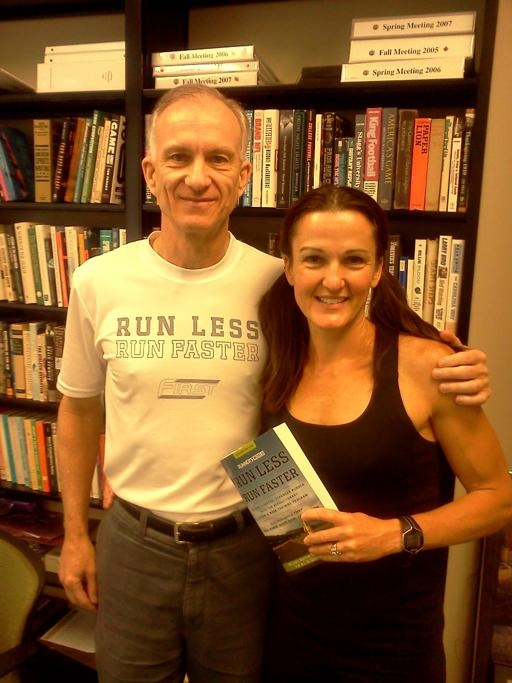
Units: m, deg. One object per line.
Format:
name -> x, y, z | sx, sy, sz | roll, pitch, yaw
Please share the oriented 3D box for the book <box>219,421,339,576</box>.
book -> 0.040, 0.280, 1.083 | 0.218, 0.238, 0.054 | 5, 9, 37
